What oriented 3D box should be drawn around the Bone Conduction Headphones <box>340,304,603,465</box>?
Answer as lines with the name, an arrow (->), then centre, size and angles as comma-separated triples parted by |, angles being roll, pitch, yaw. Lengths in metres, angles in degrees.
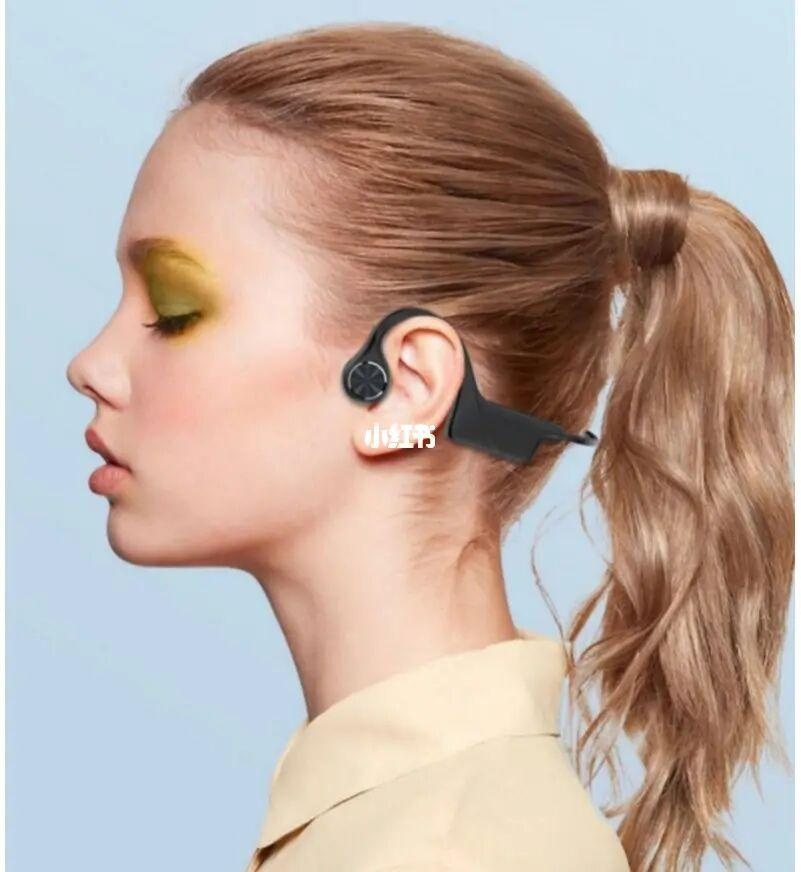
Bone Conduction Headphones -> 0.079, -0.038, 1.569 | 0.239, 0.146, 0.053 | 12, -8, -17
